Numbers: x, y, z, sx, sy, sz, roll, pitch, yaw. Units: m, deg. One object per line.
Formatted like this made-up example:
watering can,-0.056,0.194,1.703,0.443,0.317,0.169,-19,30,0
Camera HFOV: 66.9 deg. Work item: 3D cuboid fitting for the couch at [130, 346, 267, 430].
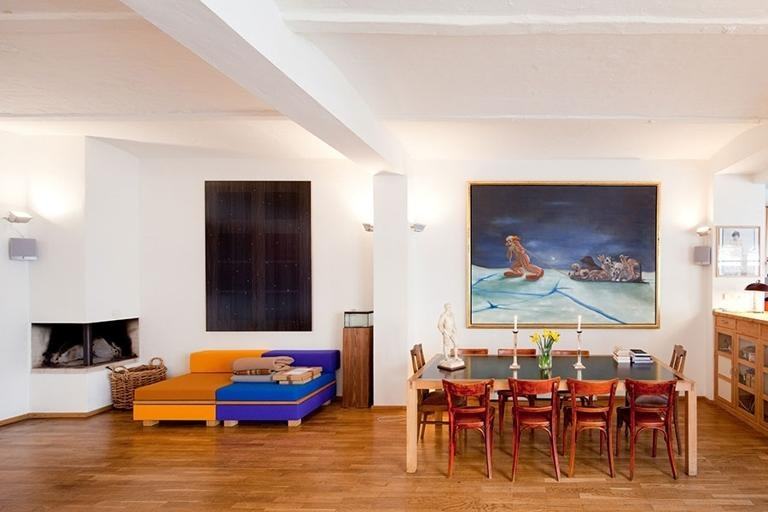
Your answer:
couch,-2.489,1.939,8.901,1.671,0.736,1.610,-1,3,7

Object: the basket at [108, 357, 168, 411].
basket,-4.039,2.003,9.525,0.871,0.692,1.116,-5,-9,-2

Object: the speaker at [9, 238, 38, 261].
speaker,-5.343,-0.101,8.574,0.393,0.312,0.193,1,-2,-28

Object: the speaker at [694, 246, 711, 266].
speaker,4.985,-0.003,9.094,0.238,0.305,0.293,0,-1,11

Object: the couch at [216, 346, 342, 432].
couch,-1.607,1.964,9.043,1.378,0.661,1.791,-1,2,18

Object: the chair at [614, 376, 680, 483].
chair,3.250,2.035,7.229,0.677,1.161,1.123,0,-1,22

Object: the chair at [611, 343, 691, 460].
chair,3.643,1.780,7.750,0.845,1.085,0.777,-4,-4,22

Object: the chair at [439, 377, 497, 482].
chair,1.008,2.063,7.158,0.686,1.030,0.742,0,-7,0

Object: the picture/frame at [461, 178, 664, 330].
picture/frame,3.004,0.027,9.341,2.955,1.834,0.093,0,1,3

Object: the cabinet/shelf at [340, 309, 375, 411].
cabinet/shelf,-0.418,1.620,9.170,0.465,1.483,0.216,0,-1,5
